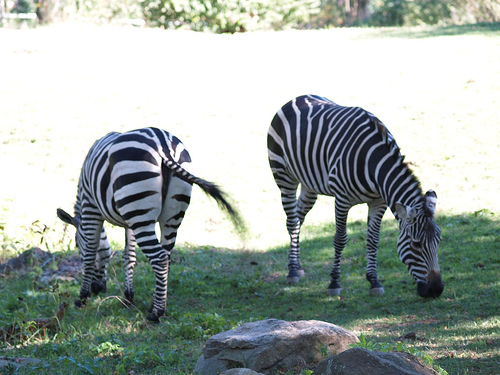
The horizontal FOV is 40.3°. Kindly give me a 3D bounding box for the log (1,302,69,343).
[{"bbox_3d":[-4.396,2.771,13.810,1.560,1.017,0.393,-4,12,-13],"label":"log"}]
